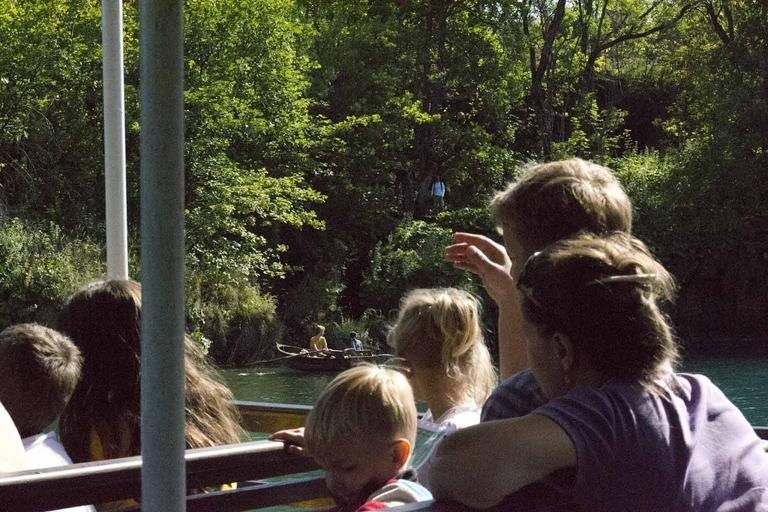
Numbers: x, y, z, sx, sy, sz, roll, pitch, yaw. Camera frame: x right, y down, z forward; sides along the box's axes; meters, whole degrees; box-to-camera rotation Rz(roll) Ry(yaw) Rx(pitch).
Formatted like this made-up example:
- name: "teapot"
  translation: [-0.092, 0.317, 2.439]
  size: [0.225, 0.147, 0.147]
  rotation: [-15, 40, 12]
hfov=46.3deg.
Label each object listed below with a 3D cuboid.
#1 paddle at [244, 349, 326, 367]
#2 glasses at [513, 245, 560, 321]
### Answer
- name: "paddle"
  translation: [-1.997, 2.021, 17.918]
  size: [1.386, 0.086, 0.158]
  rotation: [-14, 35, -10]
- name: "glasses"
  translation: [0.374, 0.056, 2.360]
  size: [0.030, 0.139, 0.105]
  rotation: [-13, 30, 31]
